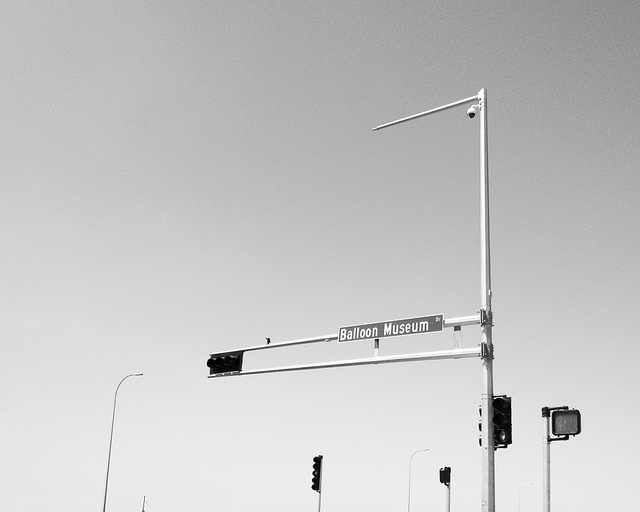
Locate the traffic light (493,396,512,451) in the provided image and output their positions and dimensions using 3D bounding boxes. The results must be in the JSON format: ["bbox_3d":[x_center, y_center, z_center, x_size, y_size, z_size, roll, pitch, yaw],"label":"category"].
[{"bbox_3d":[5.543,5.030,34.863,0.558,1.497,0.834,-2,-28,9],"label":"traffic light"}]
